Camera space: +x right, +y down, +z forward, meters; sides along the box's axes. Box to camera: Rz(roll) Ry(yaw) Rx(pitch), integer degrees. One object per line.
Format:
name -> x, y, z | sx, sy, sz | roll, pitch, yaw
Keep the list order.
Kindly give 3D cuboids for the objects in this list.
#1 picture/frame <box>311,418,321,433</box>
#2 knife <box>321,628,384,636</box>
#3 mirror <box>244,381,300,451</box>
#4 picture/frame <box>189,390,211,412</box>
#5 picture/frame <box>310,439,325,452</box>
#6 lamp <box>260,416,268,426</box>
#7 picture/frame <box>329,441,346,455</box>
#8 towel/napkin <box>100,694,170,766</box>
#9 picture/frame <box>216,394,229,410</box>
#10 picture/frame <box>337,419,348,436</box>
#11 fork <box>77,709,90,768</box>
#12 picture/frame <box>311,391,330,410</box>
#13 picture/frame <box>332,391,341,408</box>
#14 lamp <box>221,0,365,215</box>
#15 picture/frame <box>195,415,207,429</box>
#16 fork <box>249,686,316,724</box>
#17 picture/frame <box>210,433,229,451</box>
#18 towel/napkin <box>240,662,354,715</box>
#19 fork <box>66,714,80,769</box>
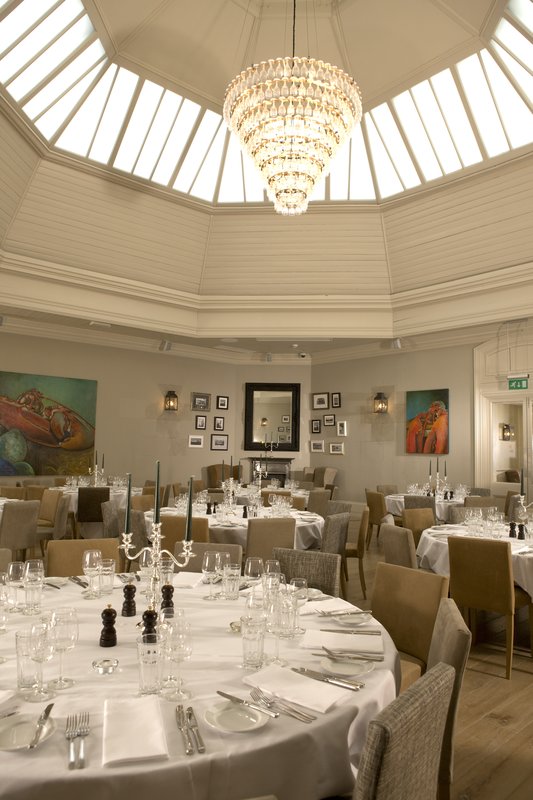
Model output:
picture/frame -> 1.248, 0.652, 12.917 | 0.349, 0.506, 0.048 | 0, -3, 43
knife -> 0.315, 0.864, 1.884 | 0.175, 0.015, 0.030 | -1, 21, 10
mirror -> 0.090, 0.413, 13.117 | 1.555, 2.202, 0.157 | 1, -2, -4
picture/frame -> -1.675, 0.023, 12.403 | 0.046, 0.440, 0.474 | -1, -1, 45
picture/frame -> 1.289, 1.144, 12.842 | 0.306, 0.293, 0.026 | -3, -3, 43
lamp -> -0.102, 0.553, 13.170 | 0.171, 0.216, 0.144 | 5, -45, 0
picture/frame -> 1.730, 1.176, 12.413 | 0.024, 0.290, 0.318 | 4, -2, -43
towel/napkin -> -0.279, 0.702, 1.068 | 0.139, 0.040, 0.172 | 8, 12, -13
picture/frame -> -1.158, 0.041, 12.848 | 0.353, 0.378, 0.025 | 1, 0, -44
picture/frame -> 1.834, 0.681, 12.343 | 0.053, 0.564, 0.373 | 6, -4, -40
fork -> -0.376, 0.695, 1.029 | 0.017, 0.016, 0.132 | 3, 12, -19
picture/frame -> 1.367, 0.012, 12.825 | 0.036, 0.418, 0.448 | 6, -4, -37
picture/frame -> 1.688, 0.002, 12.504 | 0.060, 0.391, 0.324 | 13, 0, -44
lamp -> 0.224, -2.370, 5.618 | 1.222, 3.129, 1.302 | 0, -13, -1
picture/frame -> -1.648, 0.532, 12.402 | 0.316, 0.394, 0.040 | 2, -5, -39
fork -> 0.036, 0.748, 1.236 | 0.053, 0.030, 0.179 | -9, 3, -40
picture/frame -> -1.235, 1.047, 12.721 | 0.426, 0.394, 0.035 | 2, -6, -45
towel/napkin -> 0.074, 0.757, 1.327 | 0.110, 0.030, 0.162 | 0, 3, -44
fork -> -0.393, 0.692, 1.018 | 0.016, 0.015, 0.118 | 7, 19, -23
